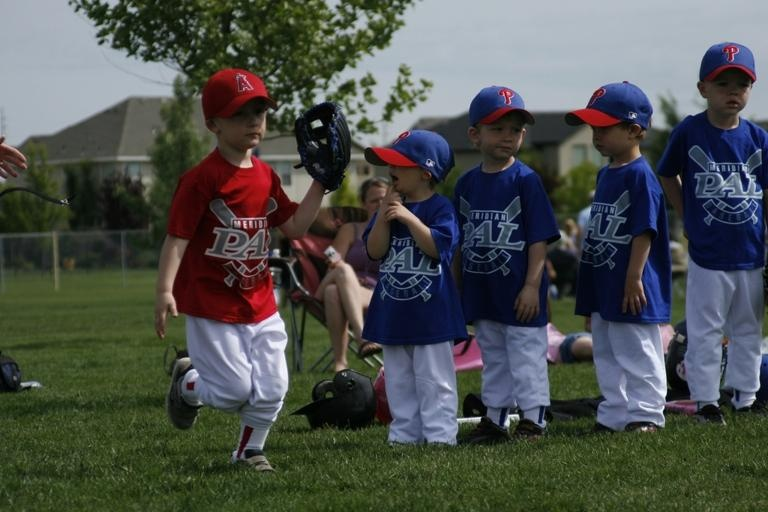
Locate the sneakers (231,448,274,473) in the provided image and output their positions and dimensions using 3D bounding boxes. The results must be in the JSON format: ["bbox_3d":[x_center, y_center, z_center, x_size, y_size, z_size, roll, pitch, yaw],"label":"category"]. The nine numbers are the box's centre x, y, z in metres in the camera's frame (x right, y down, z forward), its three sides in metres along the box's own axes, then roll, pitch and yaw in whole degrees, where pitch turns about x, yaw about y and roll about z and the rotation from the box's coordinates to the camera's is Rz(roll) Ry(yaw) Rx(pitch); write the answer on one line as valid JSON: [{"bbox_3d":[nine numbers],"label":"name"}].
[{"bbox_3d":[-0.934,1.406,9.387,0.142,0.107,0.267,6,-6,-44],"label":"sneakers"}]

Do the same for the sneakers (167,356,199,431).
[{"bbox_3d":[-1.510,1.026,9.971,0.213,0.628,0.266,-2,13,-21],"label":"sneakers"}]

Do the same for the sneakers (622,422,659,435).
[{"bbox_3d":[1.875,1.226,9.731,0.170,0.076,0.099,-15,-13,17],"label":"sneakers"}]

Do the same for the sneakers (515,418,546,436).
[{"bbox_3d":[1.066,1.231,9.733,0.225,0.131,0.115,1,-3,4],"label":"sneakers"}]

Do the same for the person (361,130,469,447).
[{"bbox_3d":[0.228,0.202,9.732,0.759,2.266,0.397,1,-4,-2],"label":"person"}]

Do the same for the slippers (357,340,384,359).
[{"bbox_3d":[-0.132,0.780,11.455,0.121,0.117,0.300,2,-9,-29],"label":"slippers"}]

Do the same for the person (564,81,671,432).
[{"bbox_3d":[1.767,-0.010,9.912,0.743,2.551,0.373,1,-4,7],"label":"person"}]

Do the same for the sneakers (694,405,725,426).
[{"bbox_3d":[2.430,1.145,9.941,0.225,0.131,0.166,0,-4,18],"label":"sneakers"}]

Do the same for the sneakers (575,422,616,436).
[{"bbox_3d":[1.560,1.265,9.886,0.315,0.131,0.104,7,-9,-12],"label":"sneakers"}]

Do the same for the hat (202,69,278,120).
[{"bbox_3d":[-1.025,-1.137,9.383,0.349,0.247,0.447,-17,7,-40],"label":"hat"}]

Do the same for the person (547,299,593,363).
[{"bbox_3d":[1.698,0.795,12.491,0.473,0.725,0.294,13,-24,-38],"label":"person"}]

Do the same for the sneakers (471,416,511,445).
[{"bbox_3d":[0.761,1.262,9.751,0.362,0.157,0.133,1,-5,-5],"label":"sneakers"}]

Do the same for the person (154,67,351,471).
[{"bbox_3d":[-0.973,0.084,9.452,1.262,2.773,0.314,1,-4,-5],"label":"person"}]
